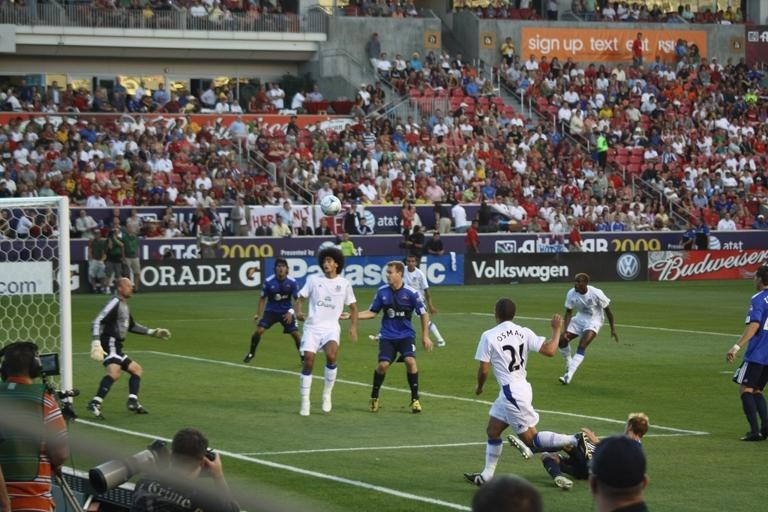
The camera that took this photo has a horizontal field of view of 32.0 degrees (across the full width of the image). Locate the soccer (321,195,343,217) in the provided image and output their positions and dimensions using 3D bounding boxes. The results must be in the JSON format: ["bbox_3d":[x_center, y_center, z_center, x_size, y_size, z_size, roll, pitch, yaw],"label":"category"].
[{"bbox_3d":[-2.115,-2.110,54.065,0.739,0.828,0.857,18,10,37],"label":"soccer"}]
